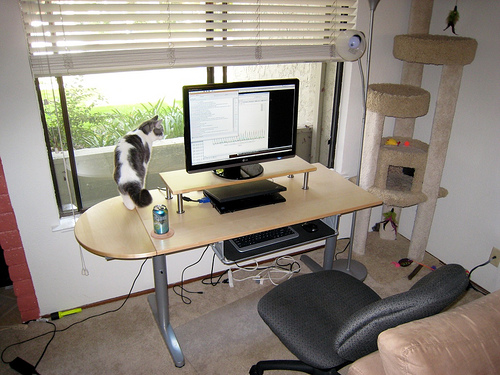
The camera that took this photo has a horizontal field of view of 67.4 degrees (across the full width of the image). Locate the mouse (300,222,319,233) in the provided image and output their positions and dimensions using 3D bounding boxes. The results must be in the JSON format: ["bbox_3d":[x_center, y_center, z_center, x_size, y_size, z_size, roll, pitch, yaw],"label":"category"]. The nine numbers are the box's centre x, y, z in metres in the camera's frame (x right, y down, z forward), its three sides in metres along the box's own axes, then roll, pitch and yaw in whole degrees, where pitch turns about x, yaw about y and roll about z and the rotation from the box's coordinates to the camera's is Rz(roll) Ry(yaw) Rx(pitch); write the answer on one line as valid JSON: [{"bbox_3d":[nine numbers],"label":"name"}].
[{"bbox_3d":[0.403,0.267,2.521,0.105,0.044,0.113,-9,22,-15],"label":"mouse"}]

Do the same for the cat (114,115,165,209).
[{"bbox_3d":[-0.660,-0.152,2.417,0.244,0.598,0.341,-1,-19,-8],"label":"cat"}]

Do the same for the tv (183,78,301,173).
[{"bbox_3d":[-0.058,-0.391,2.364,0.585,0.437,0.054,-11,28,-21],"label":"tv"}]
